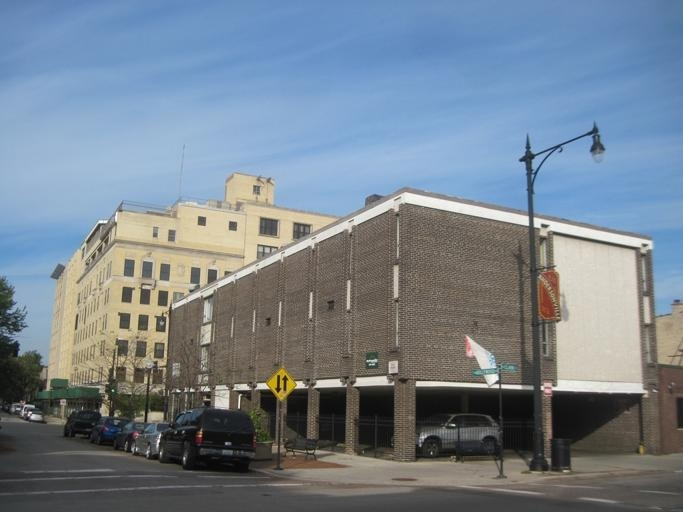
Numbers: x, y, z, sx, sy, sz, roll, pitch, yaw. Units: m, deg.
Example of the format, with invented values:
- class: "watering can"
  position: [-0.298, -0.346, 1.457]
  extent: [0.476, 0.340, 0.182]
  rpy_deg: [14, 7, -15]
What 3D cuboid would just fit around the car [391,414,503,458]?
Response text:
- class: "car"
  position: [5.725, 8.956, 43.992]
  extent: [4.332, 1.599, 2.383]
  rpy_deg: [7, -17, -19]
